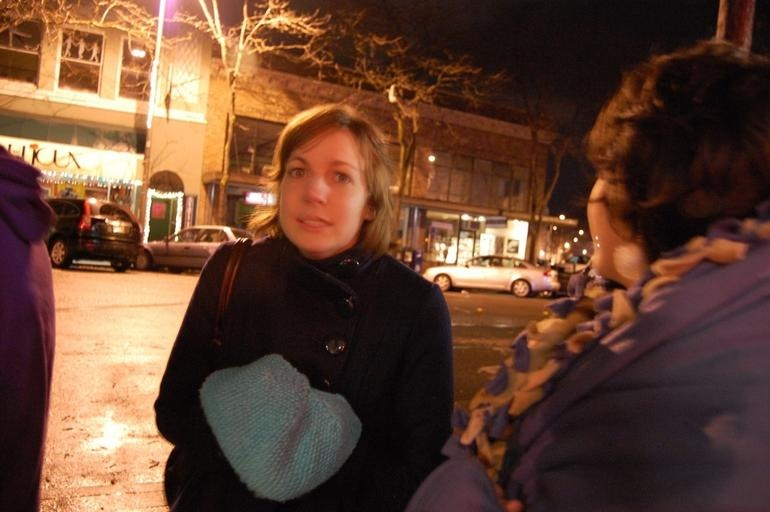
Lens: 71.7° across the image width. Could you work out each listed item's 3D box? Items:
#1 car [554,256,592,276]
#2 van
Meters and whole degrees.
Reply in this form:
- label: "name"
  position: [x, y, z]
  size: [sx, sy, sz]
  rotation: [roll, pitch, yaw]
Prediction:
- label: "car"
  position: [7.289, 0.368, 20.859]
  size: [1.962, 0.714, 0.847]
  rotation: [3, 3, 29]
- label: "van"
  position: [-7.374, -0.467, 13.510]
  size: [1.779, 1.571, 3.826]
  rotation: [5, 2, -40]
